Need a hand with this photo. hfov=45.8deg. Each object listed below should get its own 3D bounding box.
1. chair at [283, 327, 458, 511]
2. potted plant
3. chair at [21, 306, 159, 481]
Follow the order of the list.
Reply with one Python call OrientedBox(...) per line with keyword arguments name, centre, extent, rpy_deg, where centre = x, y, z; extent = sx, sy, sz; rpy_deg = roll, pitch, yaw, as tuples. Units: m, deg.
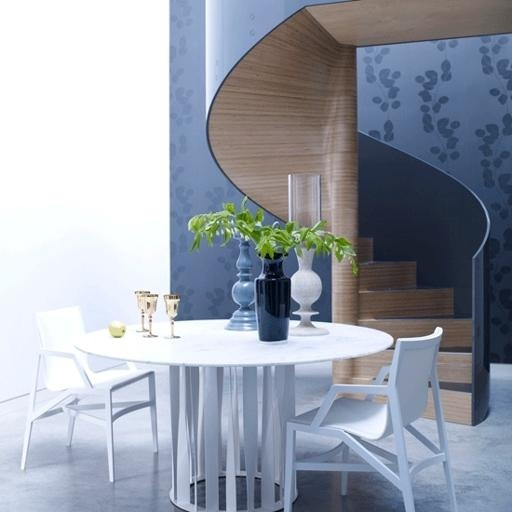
OrientedBox(name="chair", centre=(0.496, 0.609, 2.673), extent=(0.691, 1.150, 0.603), rpy_deg=(-1, -3, 31))
OrientedBox(name="potted plant", centre=(0.039, 0.009, 2.817), extent=(0.706, 0.748, 0.599), rpy_deg=(-3, -2, 34))
OrientedBox(name="chair", centre=(-0.854, 0.661, 3.515), extent=(0.696, 1.310, 0.727), rpy_deg=(-1, -1, 20))
